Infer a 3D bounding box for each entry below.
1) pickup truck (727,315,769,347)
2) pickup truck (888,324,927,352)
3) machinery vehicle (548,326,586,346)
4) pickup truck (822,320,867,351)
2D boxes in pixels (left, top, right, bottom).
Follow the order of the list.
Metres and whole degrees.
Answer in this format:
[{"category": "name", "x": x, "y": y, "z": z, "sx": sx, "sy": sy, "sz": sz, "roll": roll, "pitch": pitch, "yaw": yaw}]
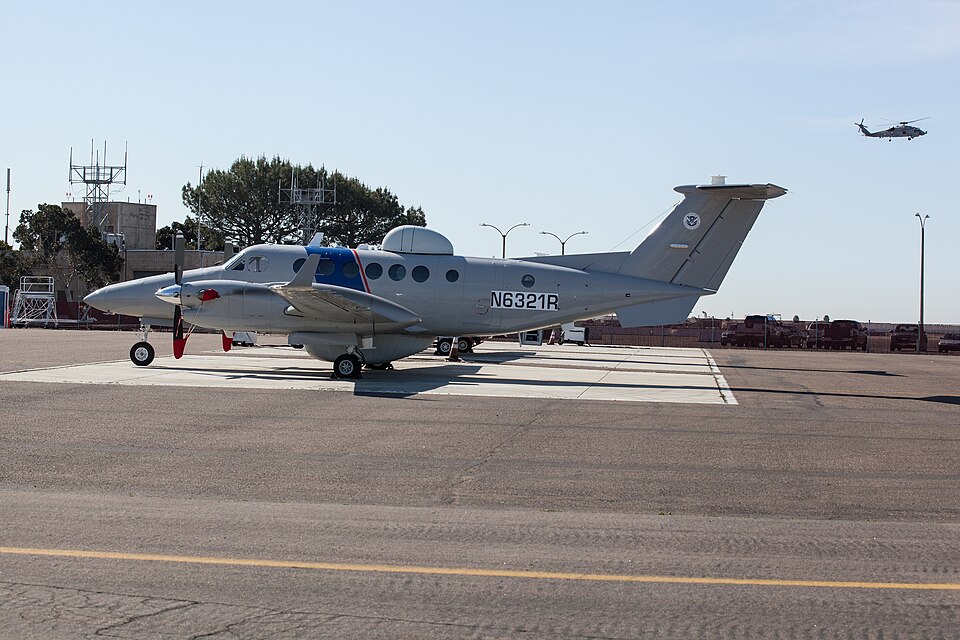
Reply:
[{"category": "pickup truck", "x": 17.069, "y": 0.832, "z": 60.763, "sx": 3.331, "sy": 1.894, "sz": 2.359, "roll": -1, "pitch": 0, "yaw": 19}, {"category": "pickup truck", "x": 27.439, "y": 1.180, "z": 61.445, "sx": 2.549, "sy": 1.695, "sz": 5.225, "roll": 1, "pitch": 5, "yaw": 23}, {"category": "machinery vehicle", "x": 5.358, "y": 0.943, "z": 58.964, "sx": 2.199, "sy": 1.058, "sz": 1.118, "roll": 4, "pitch": 3, "yaw": 14}, {"category": "pickup truck", "x": 23.600, "y": 1.063, "z": 62.367, "sx": 2.642, "sy": 1.676, "sz": 4.520, "roll": 0, "pitch": 3, "yaw": 22}]
